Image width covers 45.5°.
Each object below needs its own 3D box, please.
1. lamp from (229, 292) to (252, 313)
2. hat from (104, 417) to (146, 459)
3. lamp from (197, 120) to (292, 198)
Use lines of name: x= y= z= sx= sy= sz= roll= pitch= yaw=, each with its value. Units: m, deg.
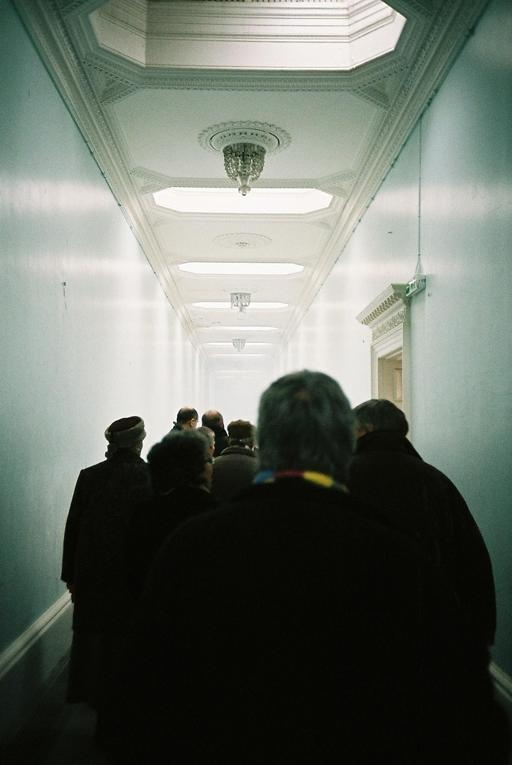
lamp: x=-0.353 y=-1.934 z=14.337 sx=0.435 sy=0.481 sz=0.449 roll=-2 pitch=-17 yaw=3
hat: x=-0.757 y=0.317 z=3.578 sx=0.181 sy=0.188 sz=0.255 roll=1 pitch=26 yaw=13
lamp: x=-0.162 y=-2.521 z=6.591 sx=0.708 sy=0.487 sz=0.733 roll=0 pitch=-21 yaw=-3
